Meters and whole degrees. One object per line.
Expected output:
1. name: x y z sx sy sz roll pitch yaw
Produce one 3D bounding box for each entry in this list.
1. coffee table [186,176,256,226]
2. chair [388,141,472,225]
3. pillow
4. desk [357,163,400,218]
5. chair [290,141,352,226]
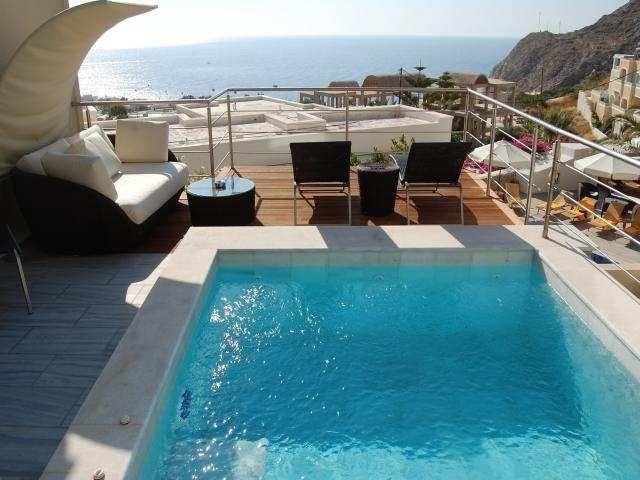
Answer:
1. coffee table: -1.054 -0.373 4.574 0.722 0.525 0.687 -2 21 -15
2. chair: 1.193 -0.661 4.469 0.766 0.931 0.778 -2 19 -4
3. pillow: -2.114 -0.826 4.260 1.295 1.233 0.904 5 14 21
4. desk: 0.627 -0.561 4.575 0.522 0.518 0.472 0 21 5
5. chair: 0.025 -0.699 4.761 0.874 0.982 0.896 -1 19 -1
